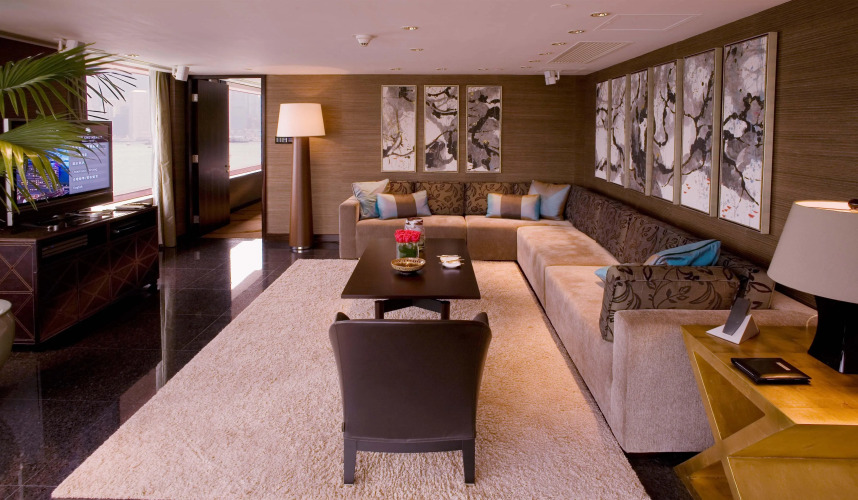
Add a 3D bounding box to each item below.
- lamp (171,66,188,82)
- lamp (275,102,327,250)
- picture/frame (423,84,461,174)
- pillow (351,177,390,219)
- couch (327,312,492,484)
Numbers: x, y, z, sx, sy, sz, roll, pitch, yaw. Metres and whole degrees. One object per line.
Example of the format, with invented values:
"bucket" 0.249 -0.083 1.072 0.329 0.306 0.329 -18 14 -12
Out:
"lamp" -3.776 -2.688 8.252 0.304 0.226 0.177 0 18 -16
"lamp" -2.016 -1.149 8.567 0.571 2.233 0.882 6 20 17
"picture/frame" 0.197 -1.967 8.791 0.725 1.418 0.036 11 19 33
"pillow" -0.883 -0.764 8.257 0.639 0.553 0.176 1 -23 -10
"couch" -0.087 1.006 4.029 1.223 1.175 1.219 0 4 -13
